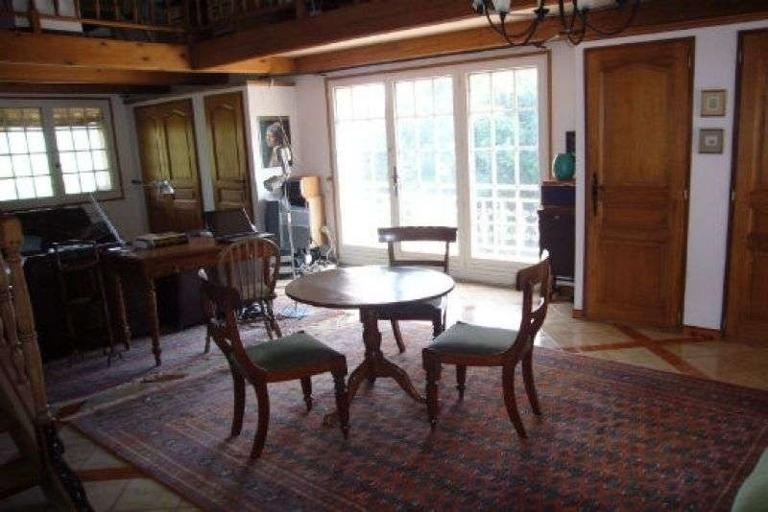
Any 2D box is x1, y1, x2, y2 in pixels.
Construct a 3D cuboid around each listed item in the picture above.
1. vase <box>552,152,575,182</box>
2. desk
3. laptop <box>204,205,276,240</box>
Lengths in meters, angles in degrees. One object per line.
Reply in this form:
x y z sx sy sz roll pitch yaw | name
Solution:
1.942 -0.953 6.012 0.134 0.286 0.303 -16 17 -39 | vase
-2.004 0.366 5.902 0.942 0.844 1.129 -16 3 -29 | desk
-1.538 -0.347 6.071 0.626 0.300 0.569 -5 1 16 | laptop
